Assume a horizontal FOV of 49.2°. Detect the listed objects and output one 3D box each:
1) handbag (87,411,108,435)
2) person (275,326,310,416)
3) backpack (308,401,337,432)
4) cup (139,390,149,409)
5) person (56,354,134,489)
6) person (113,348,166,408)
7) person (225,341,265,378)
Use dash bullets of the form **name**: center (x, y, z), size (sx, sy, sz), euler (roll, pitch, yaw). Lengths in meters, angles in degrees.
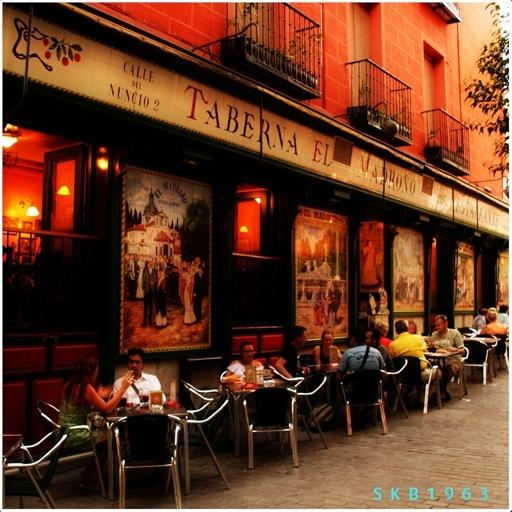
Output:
- **handbag**: center (-1.692, 1.778, 5.983), size (0.139, 0.101, 0.260), euler (-4, 41, -38)
- **person**: center (0.694, 1.826, 9.922), size (0.541, 2.068, 0.879), euler (-2, -5, 7)
- **backpack**: center (1.084, 2.551, 8.914), size (0.392, 0.216, 0.429), euler (-4, -6, -23)
- **cup**: center (-1.237, 1.624, 6.242), size (0.099, 0.151, 0.115), euler (1, -1, 0)
- **person**: center (-1.743, 1.787, 6.192), size (0.698, 1.462, 0.496), euler (0, 8, -18)
- **person**: center (-1.408, 1.542, 6.605), size (0.475, 0.836, 0.448), euler (-4, -18, -5)
- **person**: center (-0.108, 1.667, 8.411), size (0.642, 0.714, 0.393), euler (6, -27, -15)
